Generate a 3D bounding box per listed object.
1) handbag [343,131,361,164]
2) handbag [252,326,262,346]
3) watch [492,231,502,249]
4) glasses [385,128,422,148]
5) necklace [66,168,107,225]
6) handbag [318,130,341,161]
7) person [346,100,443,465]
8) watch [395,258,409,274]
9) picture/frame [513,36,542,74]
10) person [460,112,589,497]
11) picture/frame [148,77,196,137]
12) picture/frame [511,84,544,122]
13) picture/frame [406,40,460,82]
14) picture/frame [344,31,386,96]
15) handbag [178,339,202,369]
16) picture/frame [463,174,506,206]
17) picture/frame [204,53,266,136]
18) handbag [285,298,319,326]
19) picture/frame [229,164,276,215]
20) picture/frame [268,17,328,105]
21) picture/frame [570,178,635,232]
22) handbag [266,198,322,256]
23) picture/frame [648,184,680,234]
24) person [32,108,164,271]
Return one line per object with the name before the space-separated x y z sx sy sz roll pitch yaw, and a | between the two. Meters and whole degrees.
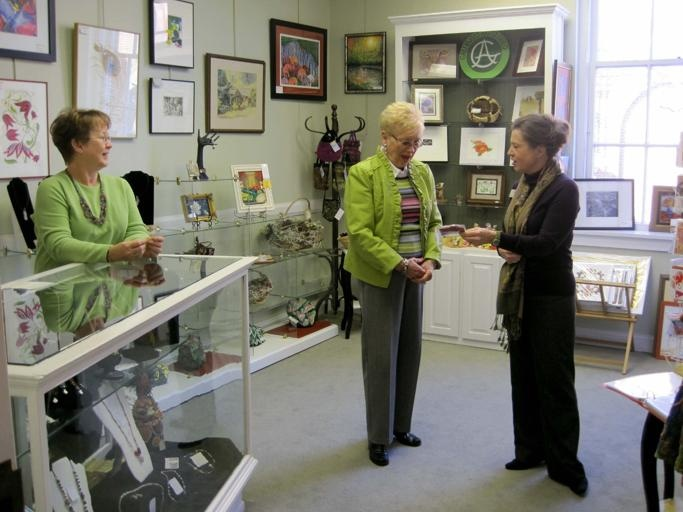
handbag | 0.094 -1.126 5.298 0.191 0.344 0.176 13 9 4
handbag | -0.758 0.709 4.540 0.093 0.136 0.042 0 -18 -42
watch | 0.826 -0.088 2.715 0.056 0.095 0.087 4 6 18
glasses | 0.342 -0.637 2.781 0.198 0.097 0.128 -1 11 -4
necklace | -1.228 -0.289 2.454 0.052 0.272 0.161 -23 -4 24
handbag | -0.129 -1.135 5.272 0.255 0.298 0.207 -1 11 -2
person | 0.311 0.169 2.948 0.567 2.044 0.393 -2 10 -7
watch | 0.327 0.050 2.742 0.027 0.073 0.055 15 -30 21
picture/frame | 1.639 -1.764 4.461 0.295 0.424 0.028 8 -3 40
person | 1.067 0.233 2.743 0.601 1.954 0.318 5 11 27
picture/frame | -1.363 -1.189 4.027 0.049 0.482 0.485 5 8 34
picture/frame | 1.688 -1.353 4.538 0.281 0.361 0.016 1 -14 17
picture/frame | 0.892 -1.861 4.833 0.383 0.352 0.032 5 7 28
picture/frame | 0.263 -2.066 5.412 0.638 0.831 0.057 2 5 23
handbag | -0.573 0.376 1.933 0.074 0.101 0.099 -6 -3 11
picture/frame | 1.364 -0.632 4.801 0.275 0.306 0.031 2 2 16
picture/frame | -0.940 -1.452 4.594 0.023 0.662 0.664 20 23 38
handbag | -0.385 0.540 5.005 0.272 0.212 0.253 5 -8 -21
picture/frame | -0.807 -0.589 4.499 0.423 0.513 0.036 -12 -1 -41
picture/frame | -0.472 -1.993 5.164 0.066 0.973 0.965 3 6 40
picture/frame | 2.402 -0.478 4.687 0.519 0.473 0.039 0 -1 10
handbag | -0.512 -0.318 4.808 0.527 0.405 0.425 0 27 7
picture/frame | 2.900 -0.426 4.575 0.205 0.404 0.112 6 12 31
person | -1.151 -0.294 2.332 0.504 0.759 0.569 -7 13 -32
